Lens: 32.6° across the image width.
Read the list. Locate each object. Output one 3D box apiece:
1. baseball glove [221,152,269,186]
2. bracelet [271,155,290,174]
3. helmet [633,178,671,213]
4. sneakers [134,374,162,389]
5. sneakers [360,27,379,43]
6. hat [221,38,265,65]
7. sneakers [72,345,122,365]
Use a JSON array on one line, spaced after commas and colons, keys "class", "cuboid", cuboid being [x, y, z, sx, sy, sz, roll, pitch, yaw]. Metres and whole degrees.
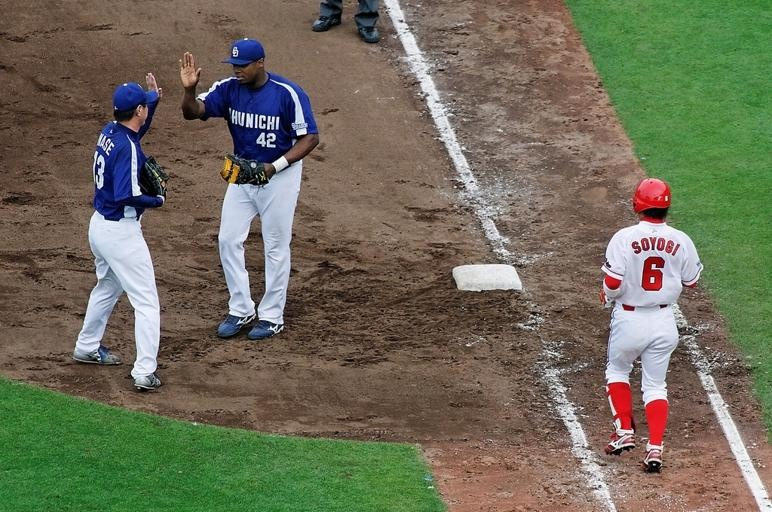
[{"class": "baseball glove", "cuboid": [-1.520, -0.879, 14.410, 0.524, 0.387, 0.309, 5, 33, -4]}, {"class": "bracelet", "cuboid": [-1.154, -0.986, 14.463, 0.233, 0.115, 0.224, -10, -8, -20]}, {"class": "helmet", "cuboid": [2.750, -0.624, 13.474, 0.358, 0.311, 0.406, -2, 20, -19]}, {"class": "sneakers", "cuboid": [-2.517, 1.354, 14.023, 0.140, 0.110, 0.289, 6, 13, 16]}, {"class": "sneakers", "cuboid": [-0.228, -3.269, 19.567, 0.206, 0.129, 0.301, -3, 32, -9]}, {"class": "hat", "cuboid": [-1.521, -2.198, 14.395, 0.359, 0.337, 0.325, 0, 34, -14]}, {"class": "sneakers", "cuboid": [-3.102, 1.096, 14.363, 0.557, 0.167, 0.182, 0, 10, -15]}]
